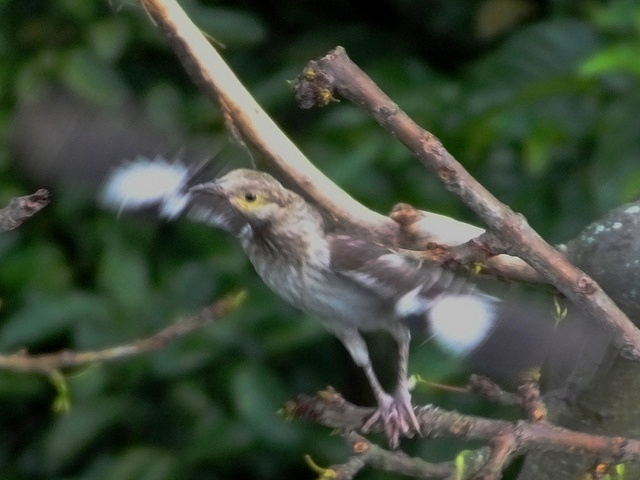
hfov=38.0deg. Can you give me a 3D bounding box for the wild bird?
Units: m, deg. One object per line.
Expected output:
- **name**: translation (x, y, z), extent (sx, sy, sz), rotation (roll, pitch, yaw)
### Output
- **wild bird**: translation (0.028, 0.099, 0.979), extent (0.523, 0.209, 0.353), rotation (13, 7, -27)
